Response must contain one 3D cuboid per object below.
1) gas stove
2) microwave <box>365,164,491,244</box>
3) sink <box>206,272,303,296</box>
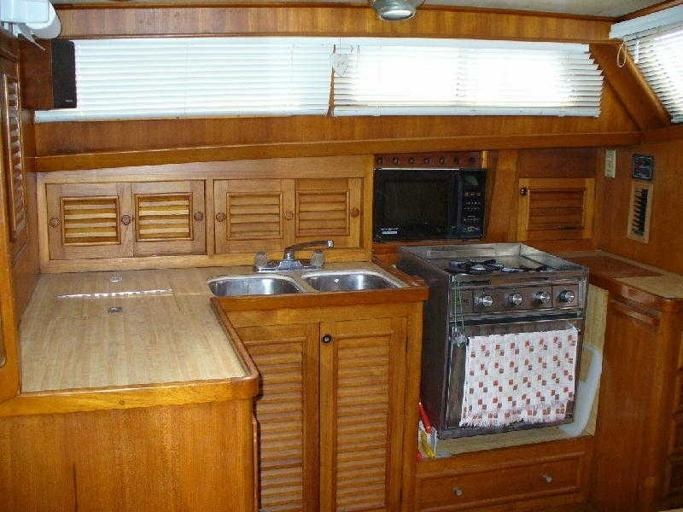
[{"bbox_3d":[0.809,0.072,2.966,0.752,0.114,0.702,-2,10,-9],"label":"gas stove"},{"bbox_3d":[0.470,-0.286,3.210,0.737,0.382,0.436,-2,12,-10],"label":"microwave"},{"bbox_3d":[-0.425,0.153,2.753,0.246,0.071,0.179,-3,19,-19],"label":"sink"}]
